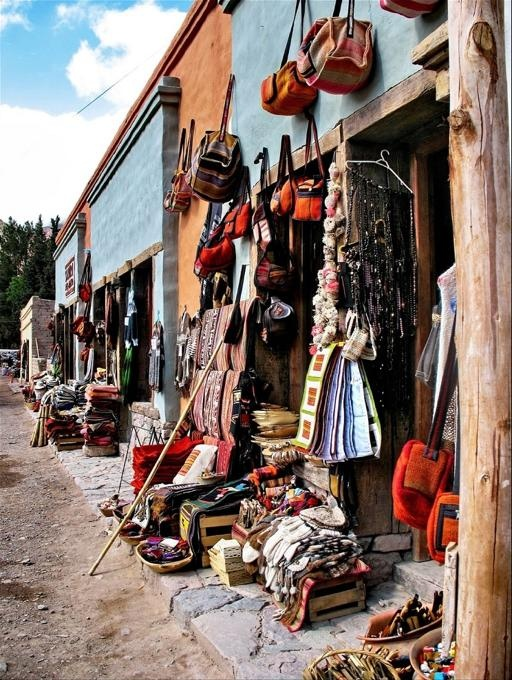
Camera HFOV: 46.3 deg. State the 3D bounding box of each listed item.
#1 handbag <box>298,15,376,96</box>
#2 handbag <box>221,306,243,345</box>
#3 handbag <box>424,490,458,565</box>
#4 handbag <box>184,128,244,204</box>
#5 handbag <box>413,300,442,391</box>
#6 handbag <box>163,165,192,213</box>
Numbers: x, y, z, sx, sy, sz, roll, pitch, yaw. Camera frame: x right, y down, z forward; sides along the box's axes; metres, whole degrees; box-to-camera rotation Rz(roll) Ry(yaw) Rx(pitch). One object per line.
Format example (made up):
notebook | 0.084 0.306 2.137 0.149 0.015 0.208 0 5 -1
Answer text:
handbag | 0.392 -1.370 2.849 0.333 0.374 0.298 -10 12 -37
handbag | -0.165 -0.102 4.250 0.163 0.258 0.132 -7 2 16
handbag | 0.675 0.642 2.170 0.107 0.272 0.174 5 -2 1
handbag | -0.317 -1.376 4.754 0.286 0.634 0.611 18 16 1
handbag | 0.708 0.013 2.423 0.086 0.294 0.096 10 6 11
handbag | -0.789 -1.445 5.991 0.278 0.623 0.571 4 -1 -6
